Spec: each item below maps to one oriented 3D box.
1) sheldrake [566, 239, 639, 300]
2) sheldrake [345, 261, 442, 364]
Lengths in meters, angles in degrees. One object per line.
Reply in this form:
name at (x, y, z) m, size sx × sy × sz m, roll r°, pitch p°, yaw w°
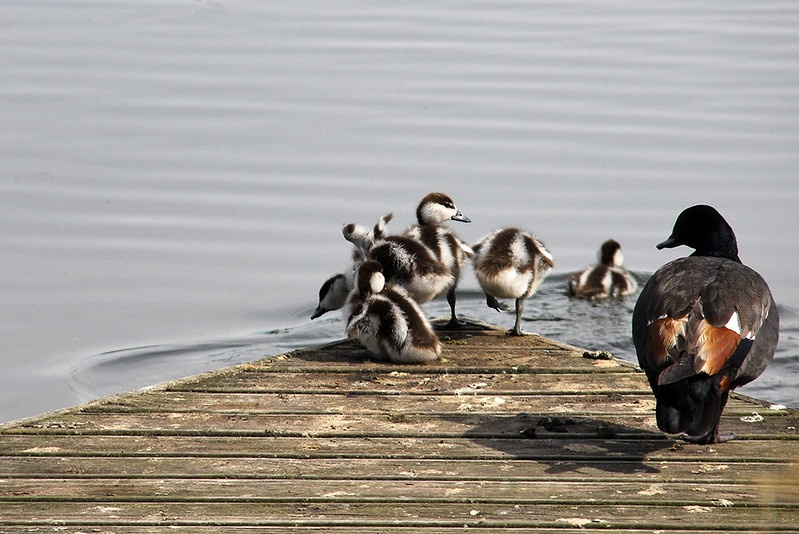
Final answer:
sheldrake at (2.565, 0.099, 19.702) m, size 0.831 × 0.583 × 1.068 m, roll 15°, pitch 27°, yaw 15°
sheldrake at (-0.088, 0.450, 14.664) m, size 0.779 × 0.885 × 0.794 m, roll -8°, pitch 19°, yaw -17°
